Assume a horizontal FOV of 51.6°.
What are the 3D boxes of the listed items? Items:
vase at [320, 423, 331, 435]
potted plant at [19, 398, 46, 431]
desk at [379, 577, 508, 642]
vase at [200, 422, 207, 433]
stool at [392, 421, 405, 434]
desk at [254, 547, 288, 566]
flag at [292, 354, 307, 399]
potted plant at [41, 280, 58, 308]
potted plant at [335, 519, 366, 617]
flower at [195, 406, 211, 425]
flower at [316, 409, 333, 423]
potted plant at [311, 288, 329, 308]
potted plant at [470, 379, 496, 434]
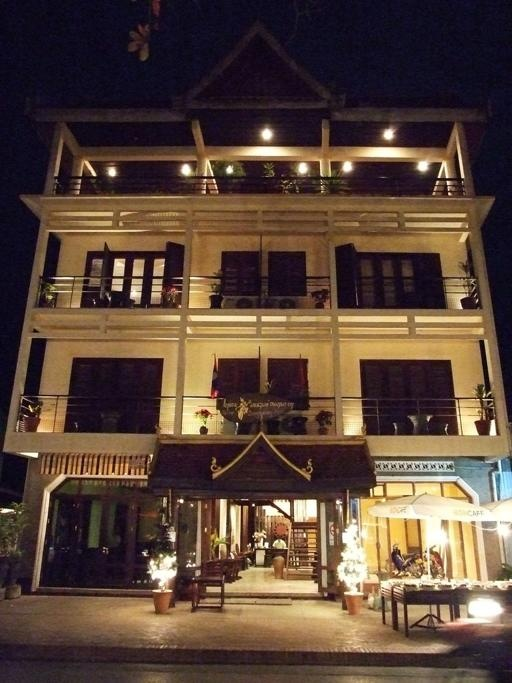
[{"bbox_3d":[1.818,2.311,13.973,0.293,0.266,0.277,2,-15,12],"label":"vase"},{"bbox_3d":[-5.889,1.940,13.811,0.510,1.063,1.332,9,-22,-19],"label":"potted plant"},{"bbox_3d":[3.355,4.701,9.467,1.947,0.835,1.745,2,-20,-2],"label":"desk"},{"bbox_3d":[-1.362,2.270,13.748,0.221,0.252,0.215,7,-15,-15],"label":"vase"},{"bbox_3d":[3.726,2.288,13.839,0.247,0.300,0.244,-6,-22,20],"label":"stool"},{"bbox_3d":[0.543,9.887,24.255,0.789,0.866,2.991,6,-21,-12],"label":"desk"},{"bbox_3d":[1.284,1.016,15.217,0.399,1.262,0.660,-1,-21,7],"label":"flag"},{"bbox_3d":[-5.744,-1.238,14.639,0.379,0.764,0.657,7,-21,-14],"label":"potted plant"},{"bbox_3d":[2.161,5.061,11.655,0.624,1.717,0.673,8,-42,0],"label":"potted plant"},{"bbox_3d":[-1.384,1.946,13.998,0.481,0.235,0.561,1,-32,2],"label":"flower"},{"bbox_3d":[1.838,2.049,14.217,0.358,0.157,0.375,1,-39,5],"label":"flower"},{"bbox_3d":[1.836,-1.191,15.269,0.476,0.263,0.621,0,-9,-4],"label":"potted plant"},{"bbox_3d":[5.800,1.717,13.473,0.489,1.483,1.019,-7,-22,23],"label":"potted plant"}]
